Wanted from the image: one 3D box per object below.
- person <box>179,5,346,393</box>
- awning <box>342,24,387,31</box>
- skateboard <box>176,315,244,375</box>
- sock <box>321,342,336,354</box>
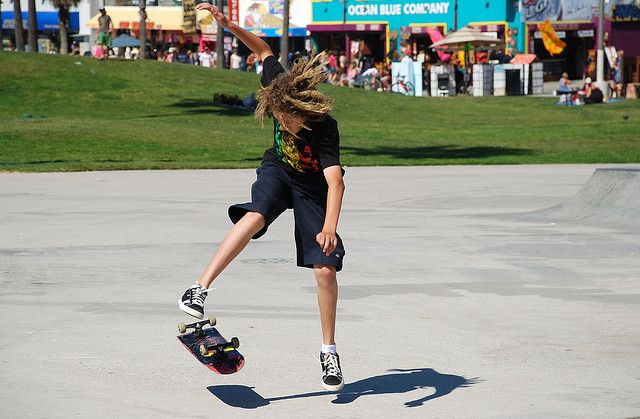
[{"bbox_3d":[-0.409,0.120,10.456,1.249,3.163,0.852,0,10,-1],"label":"person"},{"bbox_3d":[2.211,-9.263,55.010,2.523,0.338,0.484,8,11,43],"label":"awning"},{"bbox_3d":[-1.081,1.290,10.387,0.415,0.173,0.835,-12,31,-30],"label":"skateboard"},{"bbox_3d":[0.079,1.346,10.466,0.134,0.092,0.153,0,9,0],"label":"sock"}]
